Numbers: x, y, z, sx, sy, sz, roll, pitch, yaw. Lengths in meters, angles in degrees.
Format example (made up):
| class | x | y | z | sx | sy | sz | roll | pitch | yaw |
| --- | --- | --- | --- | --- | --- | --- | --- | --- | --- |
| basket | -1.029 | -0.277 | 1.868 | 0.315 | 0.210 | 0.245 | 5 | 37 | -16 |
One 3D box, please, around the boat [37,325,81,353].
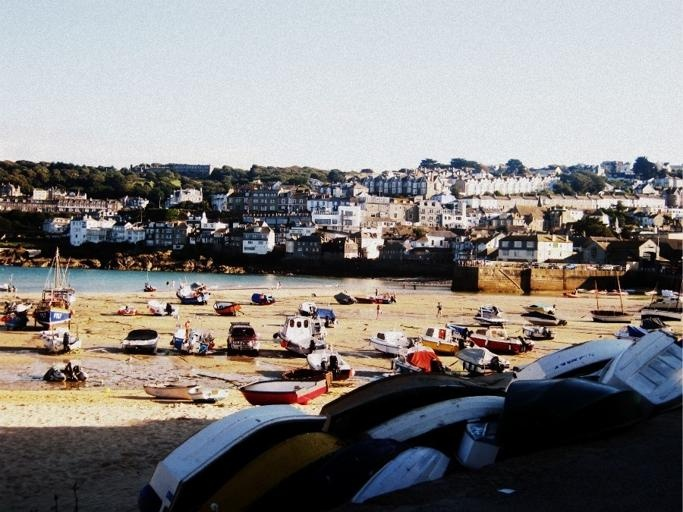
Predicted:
| class | x | y | z | sx | sy | sz | roll | pitch | yaw |
| --- | --- | --- | --- | --- | --- | --- | --- | --- | --- |
| boat | -7.072 | 2.095 | 20.484 | 0.667 | 0.499 | 1.094 | 4 | 9 | -22 |
